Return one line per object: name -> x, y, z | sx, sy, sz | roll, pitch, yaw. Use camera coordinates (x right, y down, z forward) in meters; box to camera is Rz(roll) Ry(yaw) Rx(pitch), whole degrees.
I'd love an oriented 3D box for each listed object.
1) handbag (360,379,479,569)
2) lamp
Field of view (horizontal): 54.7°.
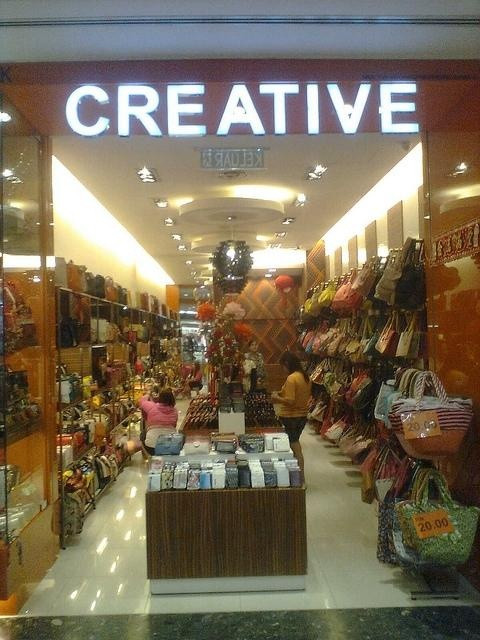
handbag -> 1.112, 0.941, 2.850 | 0.536, 1.261, 0.921 | -2, -5, 10
lamp -> -0.111, -0.672, 5.650 | 0.502, 0.707, 0.455 | -1, -5, 2
